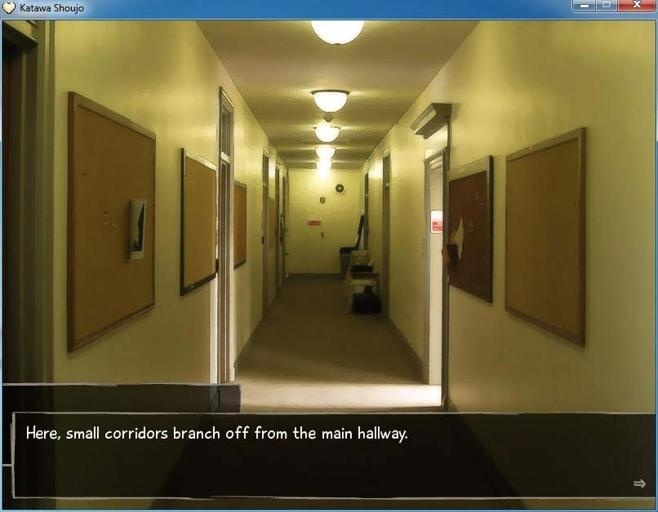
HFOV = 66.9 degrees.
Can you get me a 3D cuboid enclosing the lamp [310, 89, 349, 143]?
[{"bbox_3d":[-0.009,-1.542,5.316,0.276,0.429,0.302,1,2,-1],"label":"lamp"}]
